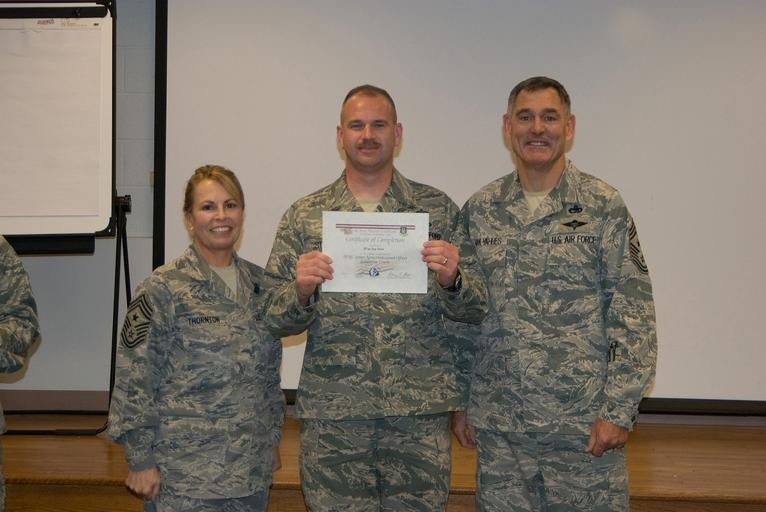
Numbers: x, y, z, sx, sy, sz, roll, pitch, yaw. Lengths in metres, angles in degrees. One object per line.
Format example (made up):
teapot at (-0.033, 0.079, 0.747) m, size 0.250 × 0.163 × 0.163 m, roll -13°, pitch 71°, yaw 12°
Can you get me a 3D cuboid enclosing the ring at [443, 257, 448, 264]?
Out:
ring at (0.316, 0.022, 3.991) m, size 0.011 × 0.028 × 0.022 m, roll -3°, pitch 29°, yaw 13°
